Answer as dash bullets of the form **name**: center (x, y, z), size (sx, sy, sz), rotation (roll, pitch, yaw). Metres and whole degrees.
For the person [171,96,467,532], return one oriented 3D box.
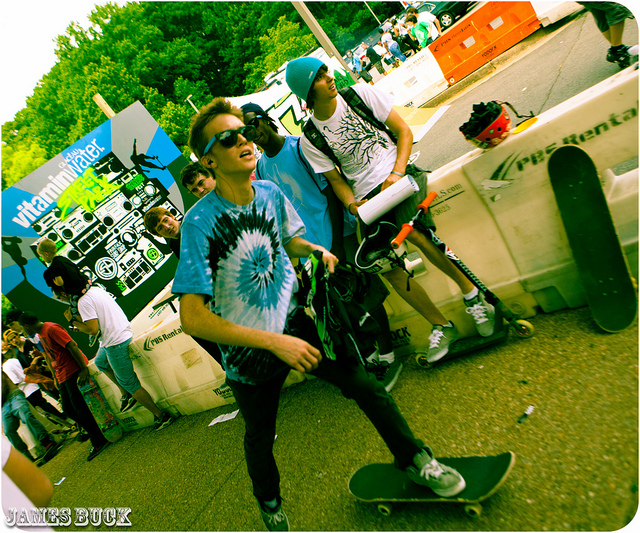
- **person**: center (-0.301, 0.459, 3.067), size (1.478, 2.512, 0.963), rotation (-38, 19, -10)

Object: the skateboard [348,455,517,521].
- **skateboard**: center (0.713, 1.428, 3.170), size (1.176, 0.248, 0.474), rotation (-6, 28, 26)

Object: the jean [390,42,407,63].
- **jean**: center (2.766, -7.665, 16.866), size (0.425, 0.683, 0.357), rotation (-44, 21, -26)

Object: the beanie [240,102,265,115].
- **beanie**: center (-0.594, -1.358, 4.095), size (0.125, 0.085, 0.590), rotation (-33, 18, 8)

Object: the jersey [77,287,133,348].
- **jersey**: center (-2.679, 0.601, 5.927), size (0.491, 0.825, 0.495), rotation (-6, 11, -21)

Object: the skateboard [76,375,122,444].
- **skateboard**: center (-2.996, 1.962, 6.451), size (0.157, 1.078, 0.299), rotation (-22, 4, 38)

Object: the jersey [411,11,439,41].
- **jersey**: center (3.640, -8.107, 15.915), size (0.516, 0.854, 0.510), rotation (-35, 19, 0)

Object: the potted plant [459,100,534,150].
- **potted plant**: center (1.322, -1.154, 3.735), size (0.401, 0.382, 0.179), rotation (-33, 19, 6)

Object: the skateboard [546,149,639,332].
- **skateboard**: center (2.091, -0.222, 3.629), size (0.388, 1.701, 0.242), rotation (-16, 0, 33)

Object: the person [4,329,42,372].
- **person**: center (-5.103, 1.450, 8.131), size (0.849, 0.282, 0.287), rotation (28, 92, 28)
